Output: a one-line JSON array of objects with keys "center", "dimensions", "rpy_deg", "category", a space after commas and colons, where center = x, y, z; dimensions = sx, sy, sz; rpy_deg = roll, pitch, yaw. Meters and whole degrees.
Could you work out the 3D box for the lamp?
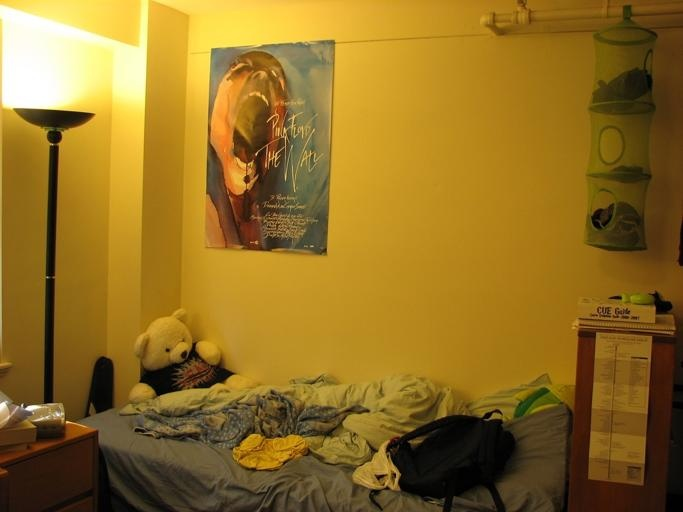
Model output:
[{"center": [-1.891, 0.018, 4.007], "dimensions": [0.429, 1.908, 0.422], "rpy_deg": [-4, 4, -45], "category": "lamp"}]
